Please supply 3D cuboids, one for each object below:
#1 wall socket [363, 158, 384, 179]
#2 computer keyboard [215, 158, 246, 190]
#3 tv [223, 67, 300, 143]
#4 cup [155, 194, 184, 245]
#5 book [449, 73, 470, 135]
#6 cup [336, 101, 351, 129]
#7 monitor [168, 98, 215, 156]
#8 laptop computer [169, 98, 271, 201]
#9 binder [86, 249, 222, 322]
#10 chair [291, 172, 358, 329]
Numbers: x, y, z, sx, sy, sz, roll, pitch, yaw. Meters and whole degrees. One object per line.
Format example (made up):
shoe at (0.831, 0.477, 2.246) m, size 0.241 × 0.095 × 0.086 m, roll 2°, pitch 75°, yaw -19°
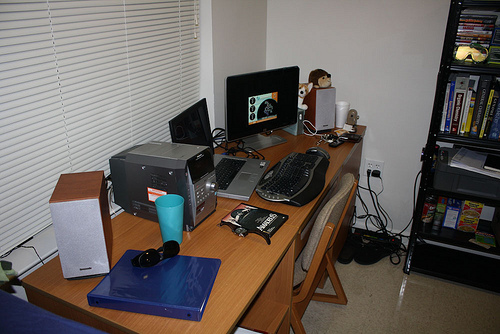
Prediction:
wall socket at (1.046, 0.002, 2.974) m, size 0.155 × 0.153 × 0.016 m, roll 12°, pitch 27°, yaw 20°
computer keyboard at (-0.133, 0.028, 2.162) m, size 0.137 × 0.024 × 0.351 m, roll 8°, pitch 32°, yaw 15°
tv at (0.075, -0.442, 2.509) m, size 0.542 × 0.385 × 0.043 m, roll -17°, pitch 27°, yaw -31°
cup at (-0.378, 0.253, 1.697) m, size 0.132 × 0.241 × 0.103 m, roll -6°, pitch 23°, yaw -17°
book at (1.428, -0.436, 2.404) m, size 0.052 × 0.489 × 0.288 m, roll 7°, pitch 21°, yaw 23°
cup at (0.748, -0.433, 2.854) m, size 0.099 × 0.200 × 0.173 m, roll 9°, pitch 23°, yaw 19°
monitor at (-0.360, -0.241, 2.099) m, size 0.030 × 0.280 × 0.378 m, roll 2°, pitch 20°, yaw 24°
laptop computer at (-0.145, -0.128, 2.081) m, size 0.487 × 0.399 × 0.569 m, roll 6°, pitch 24°, yaw 7°
binder at (-0.417, 0.509, 1.498) m, size 0.513 × 0.105 × 0.496 m, roll 6°, pitch 22°, yaw 14°
chair at (0.491, 0.545, 2.240) m, size 0.386 × 1.067 × 0.734 m, roll 5°, pitch 22°, yaw 9°
